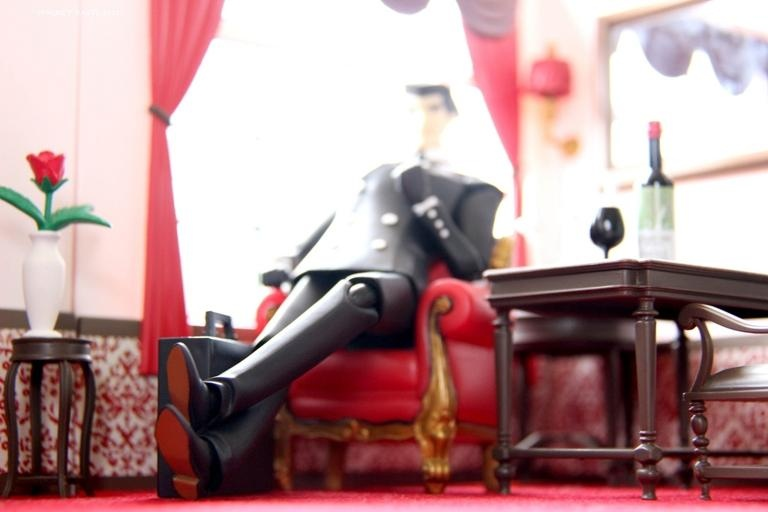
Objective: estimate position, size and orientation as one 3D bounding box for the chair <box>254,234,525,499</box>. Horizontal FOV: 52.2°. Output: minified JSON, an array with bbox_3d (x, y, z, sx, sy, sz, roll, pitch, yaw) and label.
[{"bbox_3d":[0.157,0.840,4.247,1.272,1.503,1.038,-11,-27,26],"label":"chair"}]

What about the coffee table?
[{"bbox_3d":[-1.775,0.843,4.162,0.455,0.827,0.492,1,-6,-12],"label":"coffee table"}]
